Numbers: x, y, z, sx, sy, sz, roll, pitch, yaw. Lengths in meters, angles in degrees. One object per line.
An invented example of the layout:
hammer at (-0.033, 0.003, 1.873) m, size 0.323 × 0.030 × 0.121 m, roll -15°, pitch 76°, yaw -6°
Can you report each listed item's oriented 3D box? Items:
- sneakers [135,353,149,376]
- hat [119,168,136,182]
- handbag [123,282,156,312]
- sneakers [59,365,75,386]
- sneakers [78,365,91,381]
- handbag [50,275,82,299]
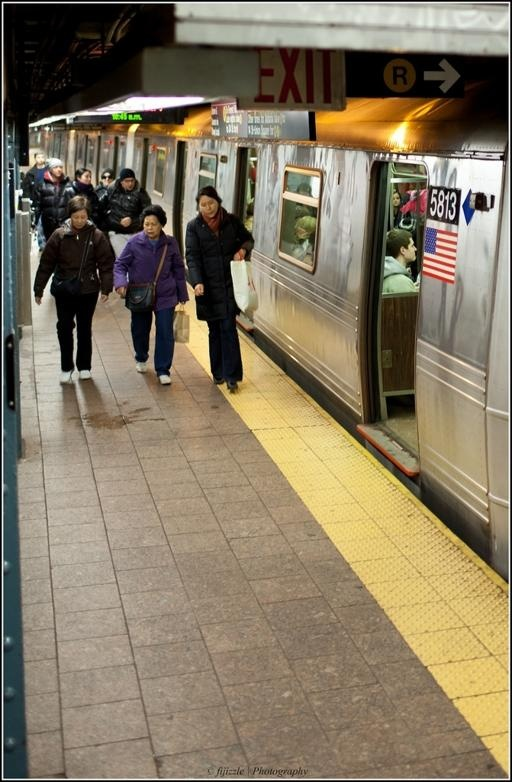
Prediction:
sneakers at (-1.614, -0.359, 7.541) m, size 0.196 × 0.276 × 0.620 m, roll 0°, pitch 11°, yaw -10°
hat at (-2.367, -3.907, 9.763) m, size 0.238 × 0.204 × 0.250 m, roll 4°, pitch 15°, yaw 26°
handbag at (-1.490, -1.216, 6.875) m, size 0.321 × 0.344 × 0.143 m, roll 1°, pitch -1°, yaw 9°
sneakers at (-2.534, -0.189, 7.180) m, size 0.100 × 0.140 × 0.320 m, roll 3°, pitch 18°, yaw -2°
sneakers at (-2.319, -0.234, 7.230) m, size 0.150 × 0.122 × 0.286 m, roll -4°, pitch 10°, yaw -12°
handbag at (-2.362, -1.259, 6.618) m, size 0.303 × 0.252 × 0.229 m, roll -2°, pitch 12°, yaw -2°
